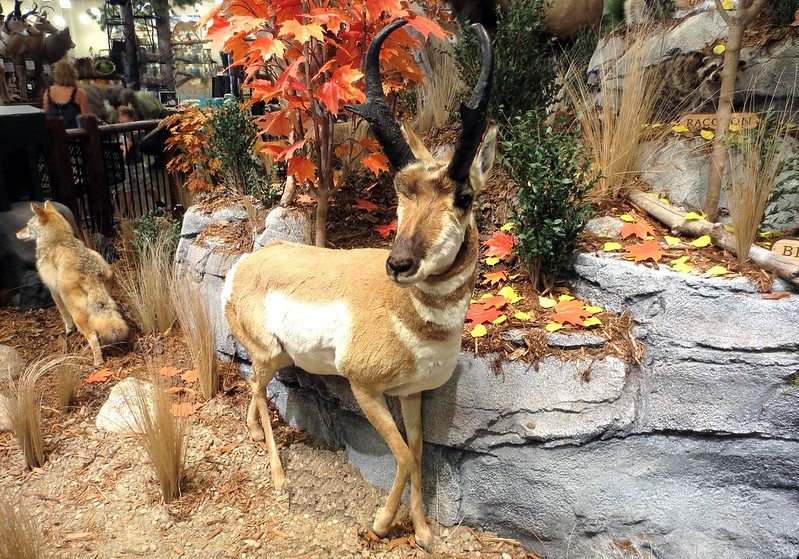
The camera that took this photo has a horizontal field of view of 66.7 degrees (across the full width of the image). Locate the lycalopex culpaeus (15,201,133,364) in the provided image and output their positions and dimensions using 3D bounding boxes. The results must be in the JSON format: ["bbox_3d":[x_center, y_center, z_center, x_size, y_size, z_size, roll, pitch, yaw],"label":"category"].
[{"bbox_3d":[-3.177,0.086,5.944,0.994,1.661,1.023,7,26,-17],"label":"lycalopex culpaeus"}]

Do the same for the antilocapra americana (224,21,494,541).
[{"bbox_3d":[-0.420,0.148,4.420,2.561,3.484,1.493,10,13,42],"label":"antilocapra americana"}]

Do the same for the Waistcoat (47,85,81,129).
[{"bbox_3d":[-4.462,-2.166,8.110,0.411,0.559,0.298,-1,-11,-4],"label":"Waistcoat"}]
